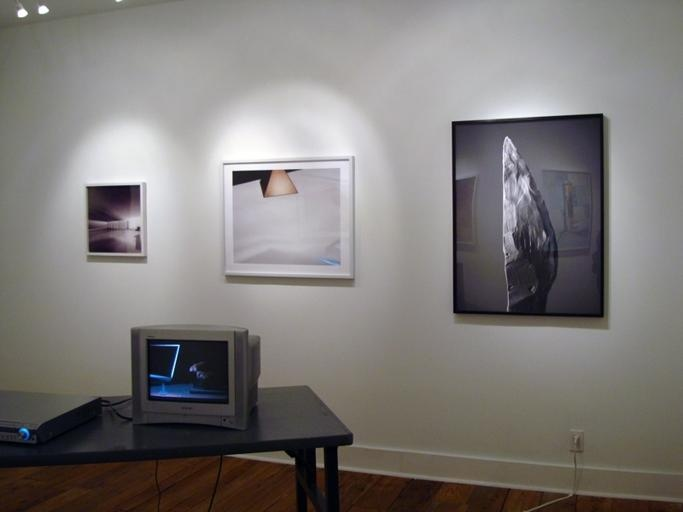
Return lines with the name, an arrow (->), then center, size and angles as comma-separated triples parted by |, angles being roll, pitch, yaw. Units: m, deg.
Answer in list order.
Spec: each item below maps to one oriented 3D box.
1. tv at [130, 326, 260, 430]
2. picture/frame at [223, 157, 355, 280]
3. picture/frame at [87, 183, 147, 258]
tv -> -0.830, 0.658, 3.093 | 0.543, 0.467, 0.574 | 1, -2, 1
picture/frame -> -0.382, -0.318, 4.555 | 0.897, 0.854, 0.034 | 1, 1, 6
picture/frame -> -1.967, -0.322, 4.903 | 0.581, 0.734, 0.047 | 1, 4, 17
